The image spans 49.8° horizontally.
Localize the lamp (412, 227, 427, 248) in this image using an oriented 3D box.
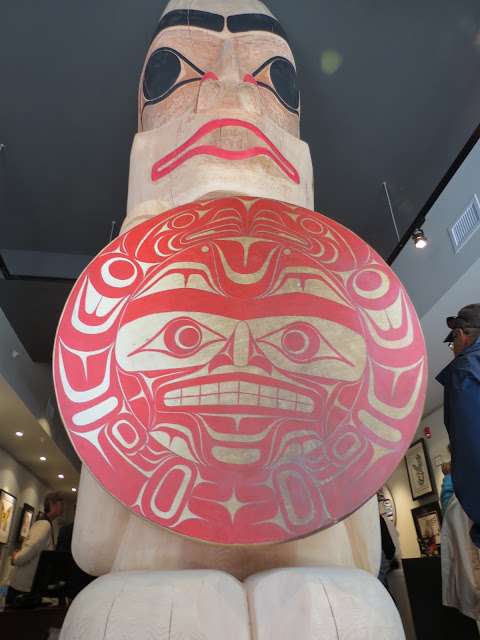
[{"bbox_3d":[0.921,-0.424,2.709,0.065,0.092,0.211,13,21,15],"label":"lamp"}]
